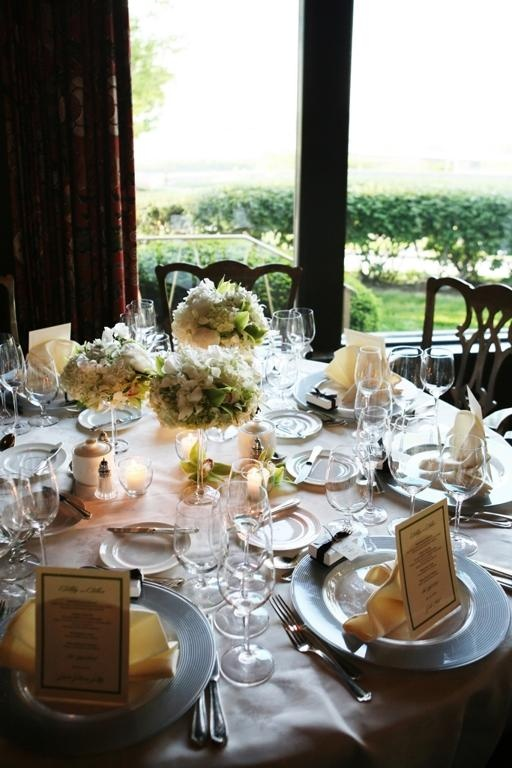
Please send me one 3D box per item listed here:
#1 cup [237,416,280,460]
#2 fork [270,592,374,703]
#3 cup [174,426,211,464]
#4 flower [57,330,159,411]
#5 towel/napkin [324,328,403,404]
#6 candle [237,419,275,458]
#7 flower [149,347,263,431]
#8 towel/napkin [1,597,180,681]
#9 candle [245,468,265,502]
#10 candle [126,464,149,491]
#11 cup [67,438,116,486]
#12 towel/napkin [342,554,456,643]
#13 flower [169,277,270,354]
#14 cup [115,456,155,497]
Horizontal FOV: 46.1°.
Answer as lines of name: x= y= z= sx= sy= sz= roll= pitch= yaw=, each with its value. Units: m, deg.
cup: x=0.003 y=0.123 z=1.330 sx=0.069 sy=0.089 sz=0.095 roll=1 pitch=5 yaw=-2
fork: x=0.086 y=0.346 z=0.840 sx=0.040 sy=0.032 sz=0.227 roll=-16 pitch=30 yaw=-19
cup: x=-0.143 y=0.133 z=1.328 sx=0.084 sy=0.073 sz=0.092 roll=1 pitch=12 yaw=0
flower: x=-0.305 y=-0.024 z=1.229 sx=0.180 sy=0.130 sz=0.153 roll=0 pitch=-3 yaw=-31
towel/napkin: x=0.270 y=-0.045 z=1.729 sx=0.236 sy=0.257 sz=0.205 roll=0 pitch=6 yaw=5
candle: x=0.001 y=0.122 z=1.330 sx=0.069 sy=0.086 sz=0.092 roll=1 pitch=2 yaw=-2
flower: x=-0.093 y=0.004 z=1.151 sx=0.166 sy=0.118 sz=0.179 roll=5 pitch=5 yaw=38
towel/napkin: x=-0.208 y=0.319 z=0.740 sx=0.136 sy=0.045 sz=0.137 roll=2 pitch=3 yaw=-8
candle: x=0.000 y=0.151 z=0.898 sx=0.035 sy=0.058 sz=0.036 roll=1 pitch=9 yaw=11
candle: x=-0.250 y=0.197 z=1.268 sx=0.052 sy=0.057 sz=0.051 roll=-6 pitch=18 yaw=-24
cup: x=-0.355 y=0.168 z=1.339 sx=0.096 sy=0.100 sz=0.094 roll=2 pitch=8 yaw=0
towel/napkin: x=0.180 y=0.320 z=0.835 sx=0.123 sy=0.048 sz=0.121 roll=-28 pitch=10 yaw=-8
flower: x=-0.084 y=-0.133 z=1.307 sx=0.175 sy=0.122 sz=0.165 roll=6 pitch=2 yaw=-6
cup: x=-0.266 y=0.196 z=1.329 sx=0.073 sy=0.082 sz=0.080 roll=2 pitch=25 yaw=-1
